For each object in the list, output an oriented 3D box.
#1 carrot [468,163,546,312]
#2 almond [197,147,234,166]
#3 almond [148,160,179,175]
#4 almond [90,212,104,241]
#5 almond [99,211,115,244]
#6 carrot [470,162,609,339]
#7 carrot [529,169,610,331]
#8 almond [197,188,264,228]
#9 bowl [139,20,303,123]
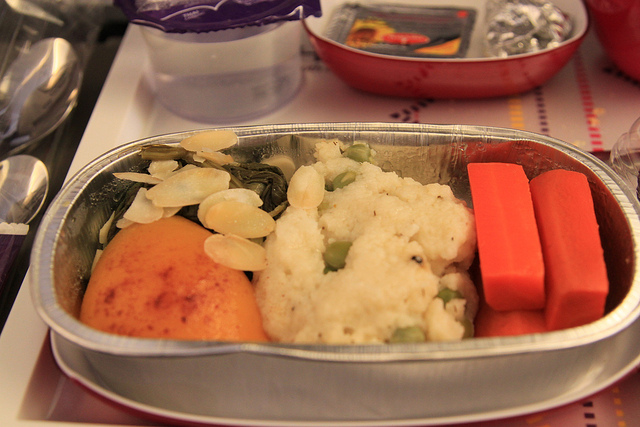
[{"bbox_3d":[0.283,0.030,0.808,0.096,0.091,0.259,1,41,9],"label":"carrot"},{"bbox_3d":[-0.172,-0.088,0.832,0.040,0.013,0.028,8,22,-7],"label":"almond"},{"bbox_3d":[-0.253,-0.073,0.829,0.035,0.006,0.025,8,54,5],"label":"almond"},{"bbox_3d":[-0.353,0.021,0.816,0.008,0.037,0.034,-1,29,14],"label":"almond"},{"bbox_3d":[-0.338,0.020,0.832,0.012,0.015,0.058,3,68,47],"label":"almond"},{"bbox_3d":[0.338,0.035,0.787,0.187,0.109,0.252,-3,53,12],"label":"carrot"},{"bbox_3d":[0.378,0.047,0.756,0.114,0.079,0.239,-1,76,0],"label":"carrot"},{"bbox_3d":[-0.143,-0.009,0.789,0.087,0.010,0.057,-13,63,-23],"label":"almond"},{"bbox_3d":[-0.198,-0.296,1.068,0.260,0.156,0.260,0,41,0],"label":"bowl"}]
